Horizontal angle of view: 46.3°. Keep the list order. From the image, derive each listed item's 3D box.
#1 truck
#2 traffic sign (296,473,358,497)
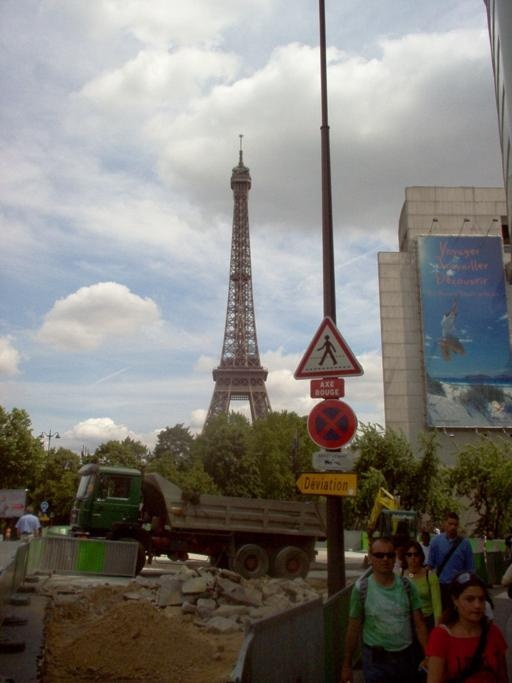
[{"bbox_3d":[-1.659,5.213,17.467,6.989,2.946,1.893,6,-12,-15],"label":"truck"},{"bbox_3d":[0.769,1.518,6.361,0.316,0.264,0.752,14,-15,-42],"label":"traffic sign"}]
